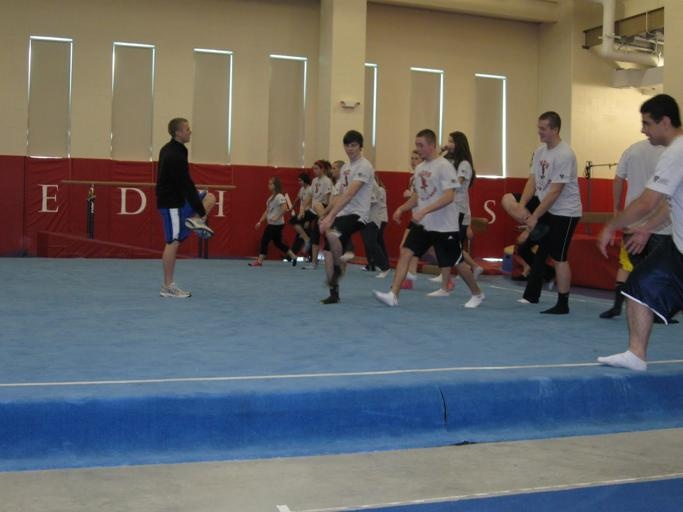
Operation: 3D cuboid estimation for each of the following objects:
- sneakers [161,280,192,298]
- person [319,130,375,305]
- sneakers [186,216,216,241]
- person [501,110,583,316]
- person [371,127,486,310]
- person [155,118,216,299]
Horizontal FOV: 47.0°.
[{"bbox_3d":[-1.609,0.344,7.738,0.346,0.168,0.126,1,3,-8],"label":"sneakers"},{"bbox_3d":[0.045,-0.347,7.607,0.494,1.698,0.844,0,10,0],"label":"person"},{"bbox_3d":[-1.368,-0.280,7.643,0.339,0.156,0.123,40,-19,-30],"label":"sneakers"},{"bbox_3d":[1.862,-0.377,7.308,0.603,1.884,0.872,0,10,-2],"label":"person"},{"bbox_3d":[0.872,-0.318,7.444,0.988,1.720,1.133,1,10,6],"label":"person"},{"bbox_3d":[-1.521,-0.450,7.582,0.521,1.713,0.316,-1,10,-5],"label":"person"}]
